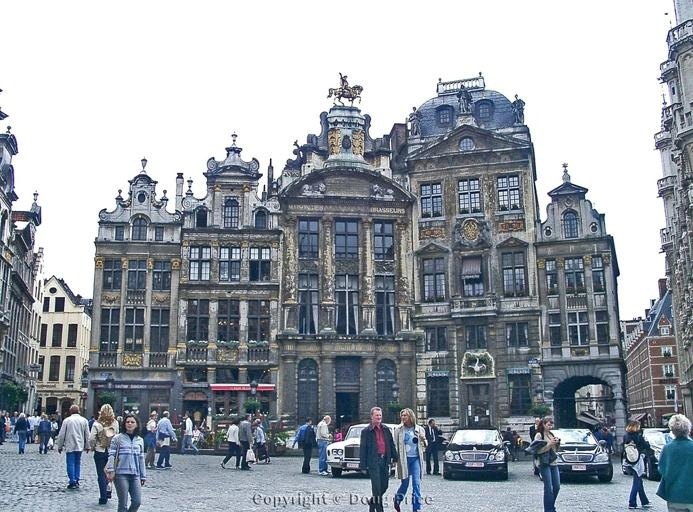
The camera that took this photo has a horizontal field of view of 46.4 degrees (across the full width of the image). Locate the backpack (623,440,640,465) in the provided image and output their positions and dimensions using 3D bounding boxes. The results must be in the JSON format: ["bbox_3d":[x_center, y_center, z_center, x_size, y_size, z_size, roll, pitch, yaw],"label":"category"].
[{"bbox_3d":[9.242,6.390,26.300,0.430,0.801,0.578,18,-17,-21],"label":"backpack"}]

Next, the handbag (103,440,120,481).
[{"bbox_3d":[-6.311,5.472,21.971,0.331,1.197,0.325,3,-12,-17],"label":"handbag"}]

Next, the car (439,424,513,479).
[{"bbox_3d":[5.571,8.545,34.996,2.703,2.121,2.123,-1,-12,0],"label":"car"}]
